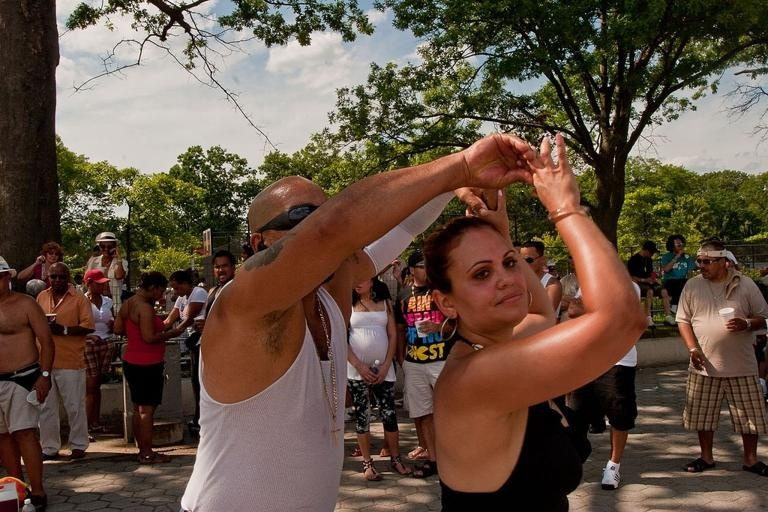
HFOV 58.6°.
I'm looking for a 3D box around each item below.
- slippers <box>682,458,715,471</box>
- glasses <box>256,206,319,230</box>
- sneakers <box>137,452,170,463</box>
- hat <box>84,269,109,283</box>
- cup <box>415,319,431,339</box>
[{"bbox_3d":[4.274,2.815,9.232,0.411,0.133,0.174,0,5,-13],"label":"slippers"},{"bbox_3d":[-0.681,-0.265,4.872,0.235,0.069,0.226,-34,-7,16],"label":"glasses"},{"bbox_3d":[-3.373,2.917,9.914,0.397,0.106,0.181,-1,2,-11],"label":"sneakers"},{"bbox_3d":[-4.950,0.335,11.614,0.344,0.176,0.230,-1,3,-15],"label":"hat"},{"bbox_3d":[0.500,0.970,9.166,0.194,0.197,0.231,-2,-9,-4],"label":"cup"}]
